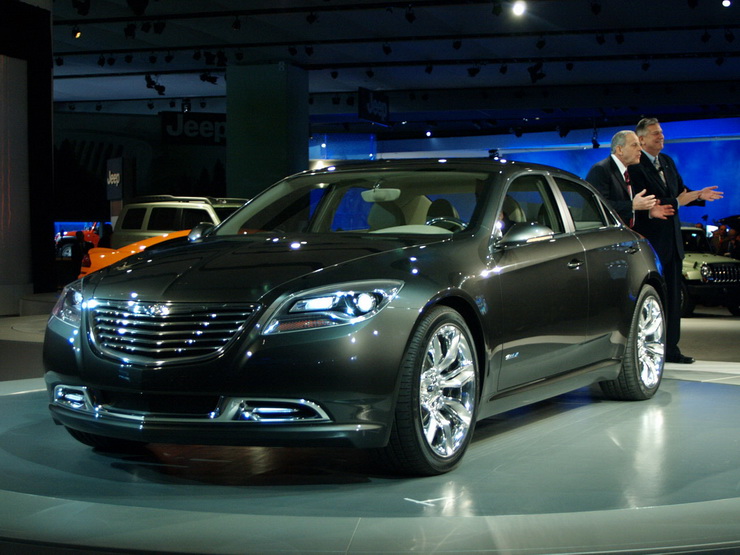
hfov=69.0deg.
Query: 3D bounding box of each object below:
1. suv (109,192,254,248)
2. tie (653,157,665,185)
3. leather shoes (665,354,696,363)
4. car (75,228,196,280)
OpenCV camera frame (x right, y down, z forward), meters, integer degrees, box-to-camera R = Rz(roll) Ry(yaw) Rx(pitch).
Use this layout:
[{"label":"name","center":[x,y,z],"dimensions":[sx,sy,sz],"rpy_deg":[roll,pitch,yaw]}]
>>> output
[{"label":"suv","center":[-4.614,-1.417,12.740],"dimensions":[3.127,1.476,1.966],"rpy_deg":[0,5,15]},{"label":"tie","center":[3.447,-1.256,6.401],"dimensions":[0.065,0.246,0.259],"rpy_deg":[-6,12,15]},{"label":"leather shoes","center":[3.764,0.994,6.550],"dimensions":[0.213,0.067,0.152],"rpy_deg":[1,-3,28]},{"label":"car","center":[-4.327,-0.453,9.426],"dimensions":[1.565,0.857,2.871],"rpy_deg":[2,3,40]}]
